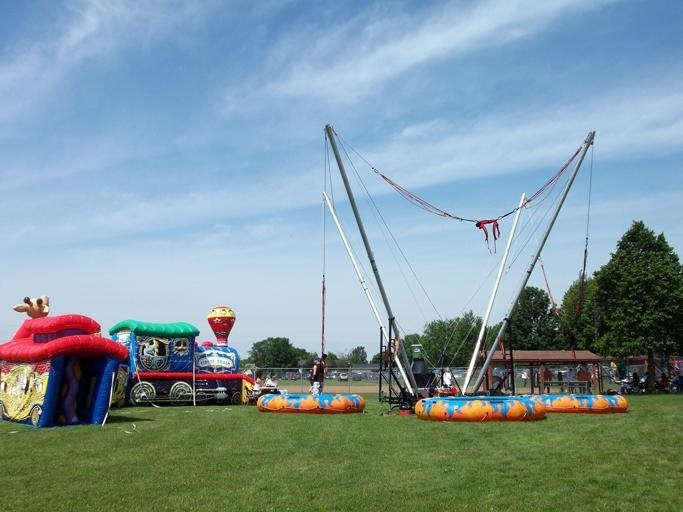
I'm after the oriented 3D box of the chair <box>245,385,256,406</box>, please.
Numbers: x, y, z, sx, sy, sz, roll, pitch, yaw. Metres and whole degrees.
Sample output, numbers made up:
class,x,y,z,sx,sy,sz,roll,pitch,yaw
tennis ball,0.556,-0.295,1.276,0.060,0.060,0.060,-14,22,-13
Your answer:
class,x,y,z,sx,sy,sz,roll,pitch,yaw
chair,-5.084,7.784,32.877,0.792,1.206,0.889,10,-23,-30

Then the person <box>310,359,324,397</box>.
class,x,y,z,sx,sy,sz,roll,pitch,yaw
person,-1.104,5.571,27.324,0.527,1.598,1.161,1,-15,-3

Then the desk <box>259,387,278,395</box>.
class,x,y,z,sx,sy,sz,roll,pitch,yaw
desk,-4.124,7.572,33.284,0.568,0.475,1.385,-11,-19,34

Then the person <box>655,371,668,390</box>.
class,x,y,z,sx,sy,sz,roll,pitch,yaw
person,23.710,9.354,43.936,0.910,1.185,1.641,-8,-18,28
